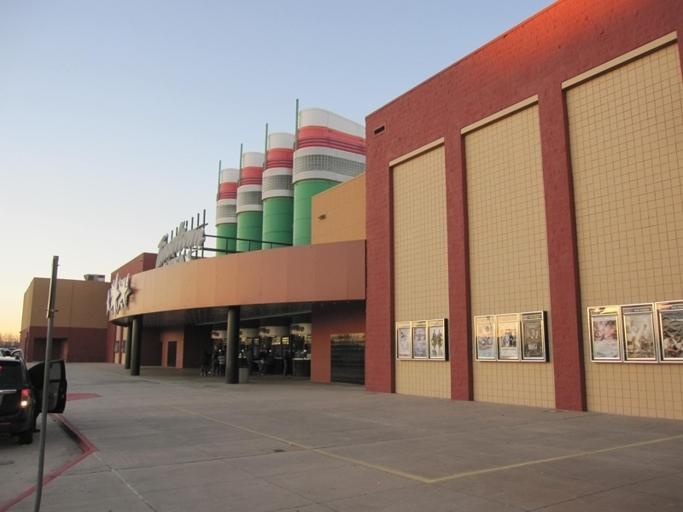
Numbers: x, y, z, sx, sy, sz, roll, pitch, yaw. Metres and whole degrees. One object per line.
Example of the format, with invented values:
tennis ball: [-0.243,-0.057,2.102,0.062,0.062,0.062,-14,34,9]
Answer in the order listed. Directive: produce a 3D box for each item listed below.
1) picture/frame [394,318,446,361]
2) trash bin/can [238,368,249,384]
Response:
picture/frame: [3.440,3.611,21.200,0.130,1.709,2.862,7,-15,-38]
trash bin/can: [-5.637,6.815,28.403,0.732,0.848,0.745,0,-1,31]
